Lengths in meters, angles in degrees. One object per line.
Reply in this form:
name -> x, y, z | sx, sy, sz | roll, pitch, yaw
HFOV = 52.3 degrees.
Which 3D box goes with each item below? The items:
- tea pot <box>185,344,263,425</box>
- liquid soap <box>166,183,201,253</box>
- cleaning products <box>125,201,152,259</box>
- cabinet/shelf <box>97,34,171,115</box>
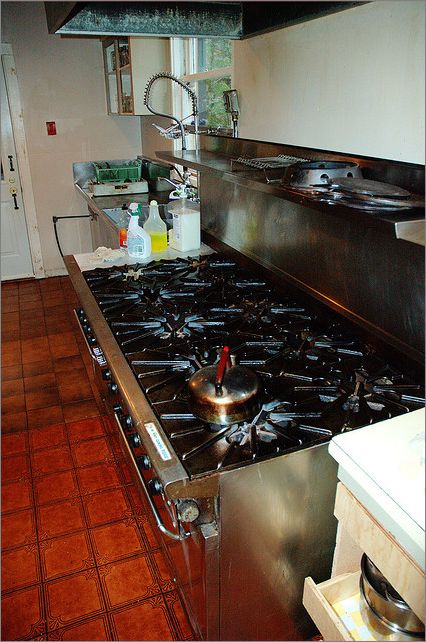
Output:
tea pot -> 0.024, 0.120, 0.940 | 0.162, 0.155, 0.158 | -1, 20, 0
liquid soap -> -0.131, -0.529, 2.258 | 0.152, 0.343, 0.211 | -6, 22, -22
cleaning products -> -0.368, -0.439, 2.092 | 0.090, 0.241, 0.158 | -9, 24, -26
cabinet/shelf -> -0.728, -2.050, 3.675 | 0.230, 0.615, 0.630 | -16, 27, -33
